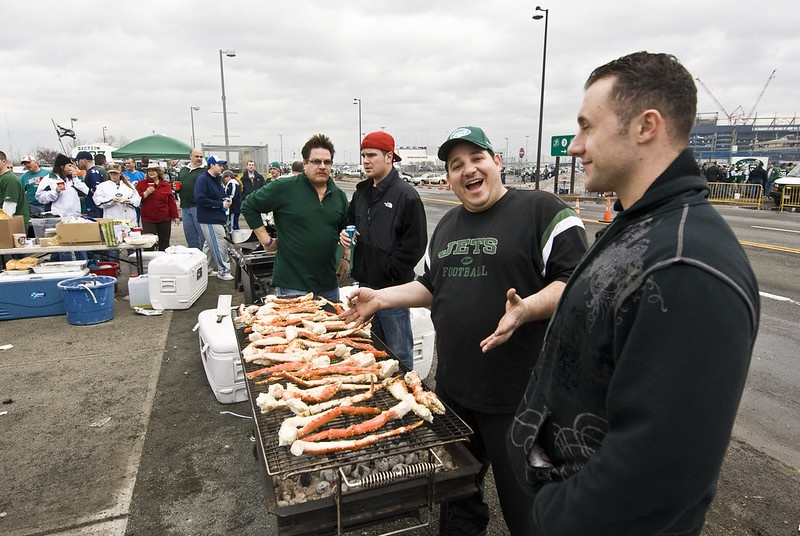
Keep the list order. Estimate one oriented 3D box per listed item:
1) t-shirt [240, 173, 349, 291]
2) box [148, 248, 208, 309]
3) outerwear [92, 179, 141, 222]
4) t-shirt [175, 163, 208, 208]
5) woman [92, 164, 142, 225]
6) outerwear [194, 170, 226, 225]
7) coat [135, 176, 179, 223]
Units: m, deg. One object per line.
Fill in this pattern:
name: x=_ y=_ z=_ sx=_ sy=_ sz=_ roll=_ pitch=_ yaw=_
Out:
t-shirt: x=-1.085 y=-0.162 z=5.457 sx=1.194 sy=1.656 sz=0.715 roll=-2 pitch=8 yaw=-32
box: x=-3.701 y=0.158 z=8.128 sx=0.728 sy=0.806 sz=1.142 roll=1 pitch=14 yaw=-3
outerwear: x=-5.789 y=-1.301 z=9.993 sx=0.843 sy=0.975 sz=0.664 roll=-13 pitch=17 yaw=-42
t-shirt: x=-4.245 y=-1.681 z=10.237 sx=0.539 sy=0.972 sz=0.857 roll=-1 pitch=6 yaw=-37
woman: x=-5.751 y=-1.206 z=10.021 sx=0.750 sy=1.736 sz=0.655 roll=-15 pitch=33 yaw=-37
outerwear: x=-3.637 y=-1.292 z=9.255 sx=0.550 sy=0.998 sz=0.869 roll=1 pitch=21 yaw=3
coat: x=-5.232 y=-1.455 z=10.483 sx=0.816 sy=0.940 sz=0.470 roll=-12 pitch=31 yaw=-43
